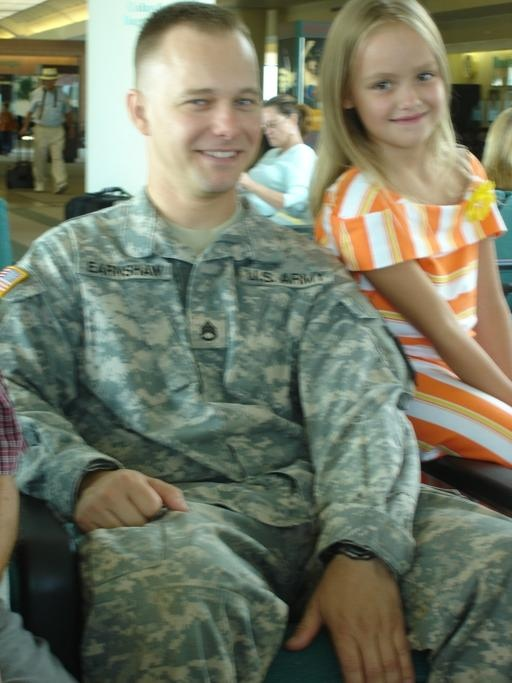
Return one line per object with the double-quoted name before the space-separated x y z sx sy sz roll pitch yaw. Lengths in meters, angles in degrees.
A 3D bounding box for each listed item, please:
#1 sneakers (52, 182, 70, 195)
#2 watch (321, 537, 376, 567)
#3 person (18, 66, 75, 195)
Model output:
"sneakers" -2.027 -1.593 6.810 0.099 0.087 0.156 -21 11 -23
"watch" 0.121 0.277 0.871 0.050 0.015 0.045 -1 -3 16
"person" -2.085 -2.134 6.634 0.568 1.187 0.425 9 18 14
